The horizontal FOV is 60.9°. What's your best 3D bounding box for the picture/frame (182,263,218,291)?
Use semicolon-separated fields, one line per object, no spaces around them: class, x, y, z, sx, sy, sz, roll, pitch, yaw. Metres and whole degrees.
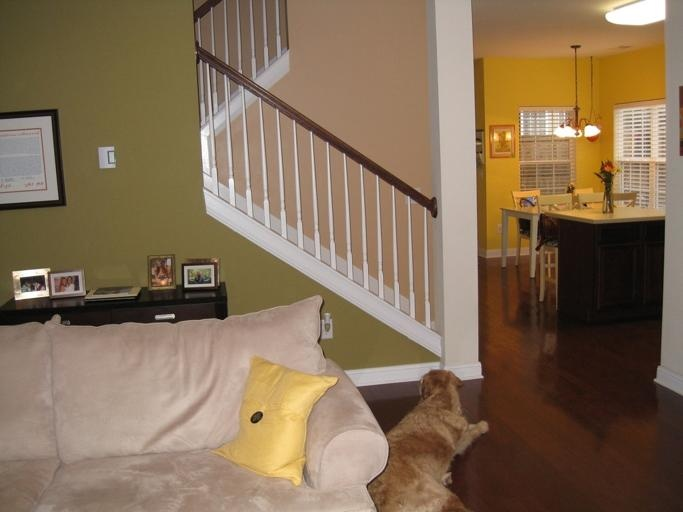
picture/frame;-1.067;0.158;4.375;0.161;0.171;0.063;0;-5;-5

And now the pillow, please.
pillow;-0.339;0.839;3.071;0.544;0.477;0.418;5;14;28

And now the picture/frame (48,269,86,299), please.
picture/frame;-2.024;0.208;4.275;0.168;0.182;0.022;0;-8;-18

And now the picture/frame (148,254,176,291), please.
picture/frame;-1.362;0.125;4.405;0.210;0.332;0.031;-1;5;-13

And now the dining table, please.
dining table;2.585;-0.408;8.273;0.729;1.074;1.032;-4;14;-15

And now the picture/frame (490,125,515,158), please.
picture/frame;2.586;-1.877;9.335;0.408;0.592;0.041;-3;10;-7

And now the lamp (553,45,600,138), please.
lamp;3.708;-2.507;9.037;0.604;1.391;1.685;3;13;22
